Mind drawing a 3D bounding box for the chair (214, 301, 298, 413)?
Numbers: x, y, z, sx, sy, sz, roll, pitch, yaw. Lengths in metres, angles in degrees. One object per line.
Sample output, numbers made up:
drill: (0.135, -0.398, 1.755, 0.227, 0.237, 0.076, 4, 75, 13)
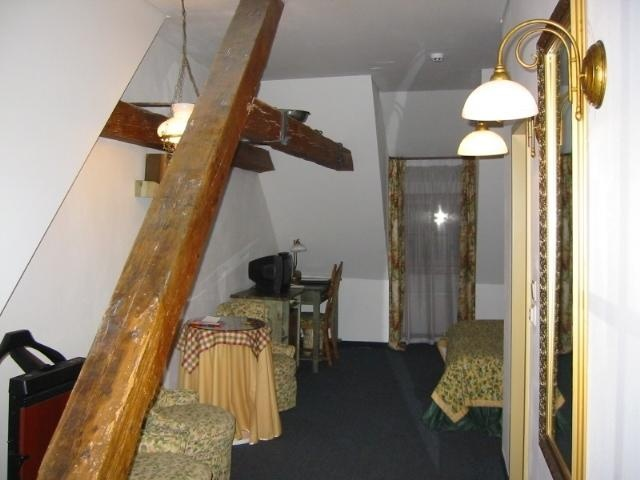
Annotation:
chair: (-0.630, 1.046, 4.563, 0.862, 1.123, 0.761, 1, 2, 7)

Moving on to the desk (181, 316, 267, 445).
desk: (-0.827, 1.107, 3.964, 0.770, 0.976, 0.764, -6, 10, -34)

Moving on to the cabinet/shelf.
cabinet/shelf: (-0.544, 0.933, 5.014, 0.491, 0.535, 0.365, 1, 13, -17)

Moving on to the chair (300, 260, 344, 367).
chair: (-0.103, 0.891, 5.723, 0.606, 1.181, 0.877, 1, -2, 15)

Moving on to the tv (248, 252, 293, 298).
tv: (-0.625, 0.299, 5.360, 0.430, 0.497, 0.346, -1, 23, -12)

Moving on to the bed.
bed: (1.384, 1.214, 4.220, 0.503, 0.643, 1.037, 2, 5, 20)

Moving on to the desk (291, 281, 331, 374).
desk: (-0.123, 1.032, 5.424, 0.331, 0.812, 0.861, 0, 5, 8)
